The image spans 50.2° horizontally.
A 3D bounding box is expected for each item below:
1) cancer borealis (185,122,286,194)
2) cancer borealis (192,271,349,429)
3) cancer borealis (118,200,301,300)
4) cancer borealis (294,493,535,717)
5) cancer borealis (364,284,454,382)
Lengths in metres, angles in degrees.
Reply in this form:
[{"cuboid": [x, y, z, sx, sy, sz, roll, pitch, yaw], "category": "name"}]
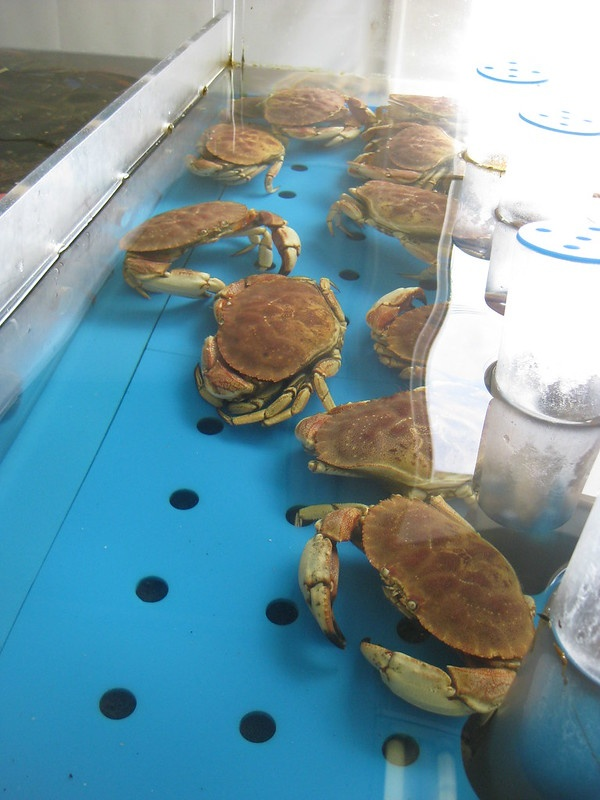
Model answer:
[{"cuboid": [-0.158, -0.598, 1.574, 0.236, 0.084, 0.303, 12, 40, -13], "category": "cancer borealis"}, {"cuboid": [-0.034, -0.034, 0.958, 0.218, 0.089, 0.311, 3, 44, 4], "category": "cancer borealis"}, {"cuboid": [-0.188, -0.308, 1.159, 0.247, 0.071, 0.245, -29, 56, -23], "category": "cancer borealis"}, {"cuboid": [0.090, 0.169, 0.573, 0.117, 0.137, 0.249, -14, 38, -24], "category": "cancer borealis"}, {"cuboid": [0.149, -0.113, 0.956, 0.139, 0.044, 0.137, -2, 65, 36], "category": "cancer borealis"}]
